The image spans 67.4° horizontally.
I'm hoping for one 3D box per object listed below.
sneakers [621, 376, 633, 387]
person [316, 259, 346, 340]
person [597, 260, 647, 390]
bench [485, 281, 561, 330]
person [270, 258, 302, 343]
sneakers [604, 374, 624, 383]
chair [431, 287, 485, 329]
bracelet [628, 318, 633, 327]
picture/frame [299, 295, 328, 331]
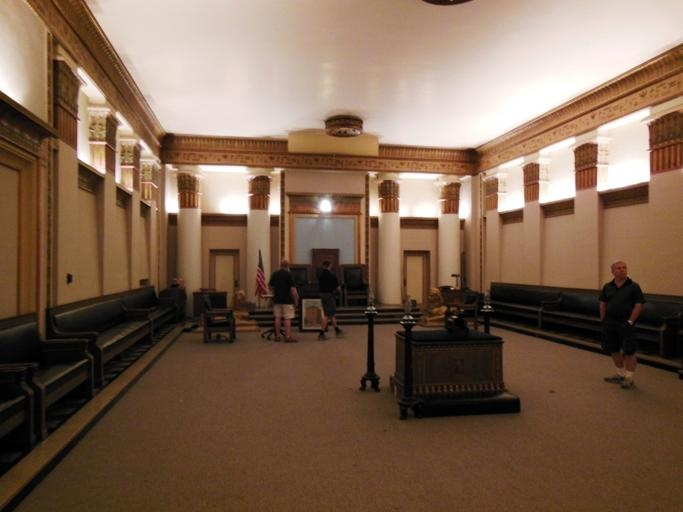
[{"bbox_3d":[4.600,2.015,8.245,0.137,0.165,0.122,4,8,22],"label":"sneakers"},{"bbox_3d":[-0.282,1.010,12.230,0.554,1.933,1.026,0,7,0],"label":"person"},{"bbox_3d":[4.606,1.119,8.470,0.443,1.996,0.730,-3,8,-22],"label":"person"},{"bbox_3d":[4.744,1.362,13.978,0.756,1.148,2.285,-1,2,-32],"label":"bench"},{"bbox_3d":[-1.338,1.020,11.538,0.585,1.828,0.362,0,7,-5],"label":"person"},{"bbox_3d":[4.545,2.038,8.570,0.325,0.140,0.123,-1,0,10],"label":"sneakers"},{"bbox_3d":[2.773,1.265,12.474,0.609,0.774,1.129,1,-2,-25],"label":"chair"},{"bbox_3d":[4.615,1.075,8.185,0.080,0.084,0.075,-1,7,-10],"label":"bracelet"},{"bbox_3d":[-0.839,1.497,13.256,0.729,1.004,0.755,-3,-4,30],"label":"picture/frame"}]
